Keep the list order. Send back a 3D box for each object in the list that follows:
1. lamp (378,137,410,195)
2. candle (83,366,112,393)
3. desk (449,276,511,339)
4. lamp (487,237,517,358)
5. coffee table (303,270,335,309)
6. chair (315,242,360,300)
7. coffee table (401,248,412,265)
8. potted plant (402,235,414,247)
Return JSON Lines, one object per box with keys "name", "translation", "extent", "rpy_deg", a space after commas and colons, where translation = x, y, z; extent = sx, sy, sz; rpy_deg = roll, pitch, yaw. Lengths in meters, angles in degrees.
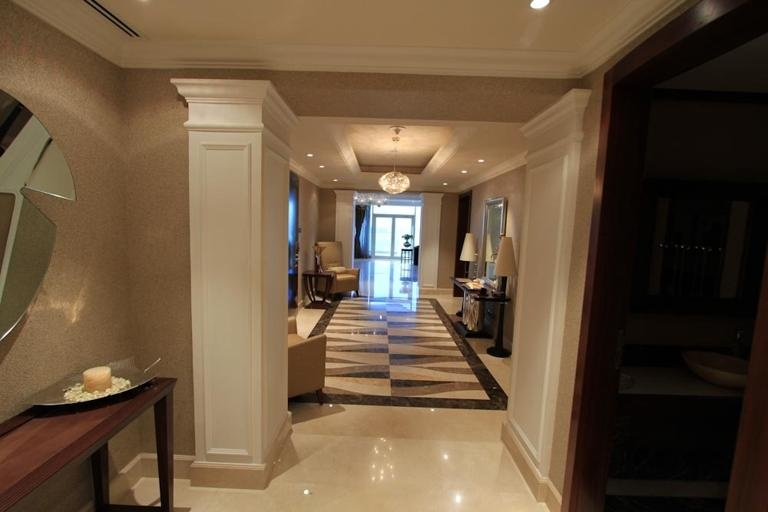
{"name": "lamp", "translation": [0.154, -1.302, 7.155], "extent": [0.384, 0.785, 0.357], "rpy_deg": [2, -6, 8]}
{"name": "candle", "translation": [-1.839, 0.795, 3.285], "extent": [0.153, 0.116, 0.156], "rpy_deg": [8, 6, 18]}
{"name": "desk", "translation": [1.320, 0.678, 7.427], "extent": [0.524, 0.564, 1.552], "rpy_deg": [0, 3, 0]}
{"name": "lamp", "translation": [1.468, 0.472, 6.261], "extent": [0.278, 1.425, 0.704], "rpy_deg": [5, 9, 13]}
{"name": "coffee table", "translation": [-1.112, 0.556, 8.614], "extent": [0.538, 0.567, 0.591], "rpy_deg": [1, 4, 4]}
{"name": "chair", "translation": [-0.834, 0.245, 9.231], "extent": [0.596, 0.965, 0.561], "rpy_deg": [-4, 5, -41]}
{"name": "coffee table", "translation": [0.741, 0.009, 16.508], "extent": [0.457, 0.651, 0.459], "rpy_deg": [0, -2, -2]}
{"name": "potted plant", "translation": [0.733, -0.503, 16.964], "extent": [0.450, 0.446, 0.392], "rpy_deg": [9, 10, 33]}
